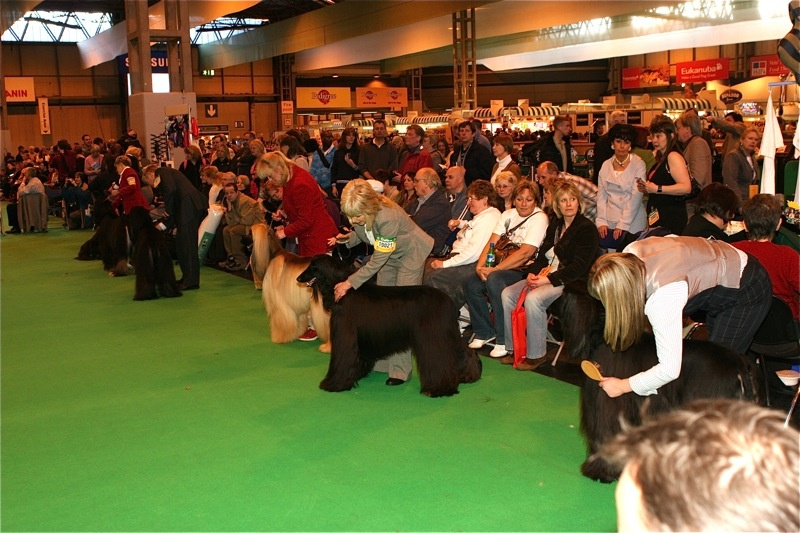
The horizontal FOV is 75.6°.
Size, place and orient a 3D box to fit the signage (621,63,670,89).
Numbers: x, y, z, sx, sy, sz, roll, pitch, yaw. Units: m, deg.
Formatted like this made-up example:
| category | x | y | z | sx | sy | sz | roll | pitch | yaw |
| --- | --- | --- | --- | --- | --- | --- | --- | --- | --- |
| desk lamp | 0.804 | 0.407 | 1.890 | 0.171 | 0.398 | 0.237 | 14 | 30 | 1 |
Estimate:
| category | x | y | z | sx | sy | sz | roll | pitch | yaw |
| --- | --- | --- | --- | --- | --- | --- | --- | --- | --- |
| signage | 16.857 | -13.047 | 35.142 | 0.048 | 1.119 | 2.644 | -2 | 6 | -26 |

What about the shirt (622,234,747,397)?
| category | x | y | z | sx | sy | sz | roll | pitch | yaw |
| --- | --- | --- | --- | --- | --- | --- | --- | --- | --- |
| shirt | 1.646 | 0.264 | 3.127 | 0.966 | 0.837 | 0.378 | -13 | 17 | -41 |

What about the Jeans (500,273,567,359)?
| category | x | y | z | sx | sy | sz | roll | pitch | yaw |
| --- | --- | --- | --- | --- | --- | --- | --- | --- | --- |
| Jeans | 1.404 | 0.572 | 5.088 | 0.578 | 0.744 | 0.615 | 2 | -10 | -17 |

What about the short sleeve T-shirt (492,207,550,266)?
| category | x | y | z | sx | sy | sz | roll | pitch | yaw |
| --- | --- | --- | --- | --- | --- | --- | --- | --- | --- |
| short sleeve T-shirt | 1.250 | -0.288 | 5.288 | 0.272 | 0.487 | 0.457 | 20 | 8 | -27 |

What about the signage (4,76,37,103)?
| category | x | y | z | sx | sy | sz | roll | pitch | yaw |
| --- | --- | --- | --- | --- | --- | --- | --- | --- | --- |
| signage | -21.156 | -9.979 | 28.602 | 1.218 | 1.410 | 2.450 | -13 | 17 | -41 |

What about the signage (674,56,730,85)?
| category | x | y | z | sx | sy | sz | roll | pitch | yaw |
| --- | --- | --- | --- | --- | --- | --- | --- | --- | --- |
| signage | 17.958 | -11.703 | 30.516 | 0.706 | 1.247 | 2.950 | -9 | 14 | -29 |

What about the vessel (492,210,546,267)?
| category | x | y | z | sx | sy | sz | roll | pitch | yaw |
| --- | --- | --- | --- | --- | --- | --- | --- | --- | --- |
| vessel | 1.236 | -0.267 | 5.289 | 0.270 | 0.483 | 0.454 | 17 | 8 | -26 |

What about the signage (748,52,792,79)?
| category | x | y | z | sx | sy | sz | roll | pitch | yaw |
| --- | --- | --- | --- | --- | --- | --- | --- | --- | --- |
| signage | 19.978 | -10.981 | 28.070 | 1.357 | 1.450 | 3.222 | 5 | 14 | 28 |

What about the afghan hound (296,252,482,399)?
| category | x | y | z | sx | sy | sz | roll | pitch | yaw |
| --- | --- | --- | --- | --- | --- | --- | --- | --- | --- |
| afghan hound | -0.088 | 0.539 | 4.639 | 1.613 | 1.098 | 0.782 | 3 | 5 | 9 |
